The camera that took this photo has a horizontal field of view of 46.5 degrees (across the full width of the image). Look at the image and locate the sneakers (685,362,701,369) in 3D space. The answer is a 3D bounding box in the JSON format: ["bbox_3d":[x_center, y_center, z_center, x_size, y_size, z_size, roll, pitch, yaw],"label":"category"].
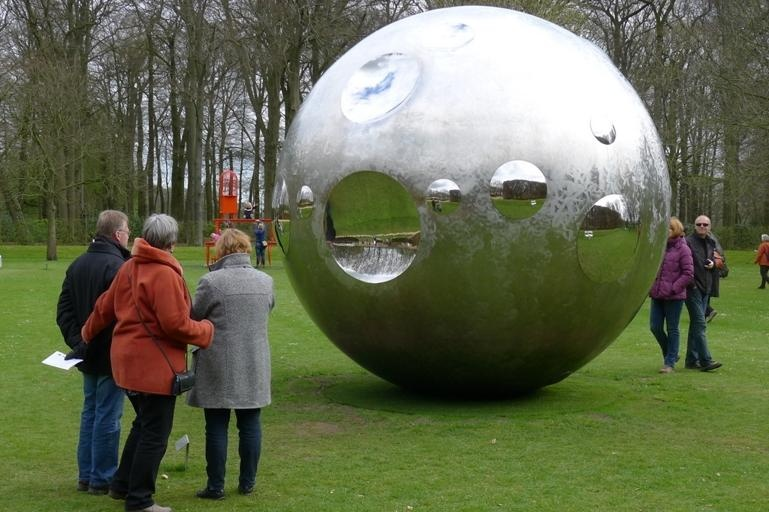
[{"bbox_3d":[4.919,1.732,14.234,0.178,0.083,0.094,-6,0,-4],"label":"sneakers"}]

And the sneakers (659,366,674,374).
[{"bbox_3d":[4.411,1.775,14.038,0.204,0.094,0.092,14,-15,-41],"label":"sneakers"}]

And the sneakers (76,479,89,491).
[{"bbox_3d":[-3.461,2.629,10.288,0.153,0.111,0.081,0,4,-16],"label":"sneakers"}]

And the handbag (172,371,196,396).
[{"bbox_3d":[-2.229,1.398,9.946,0.117,0.213,0.286,7,7,38],"label":"handbag"}]

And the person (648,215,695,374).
[{"bbox_3d":[4.476,0.633,13.973,0.632,2.455,0.909,4,13,18],"label":"person"}]

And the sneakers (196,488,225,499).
[{"bbox_3d":[-1.980,2.668,10.211,0.293,0.136,0.121,1,-2,20],"label":"sneakers"}]
